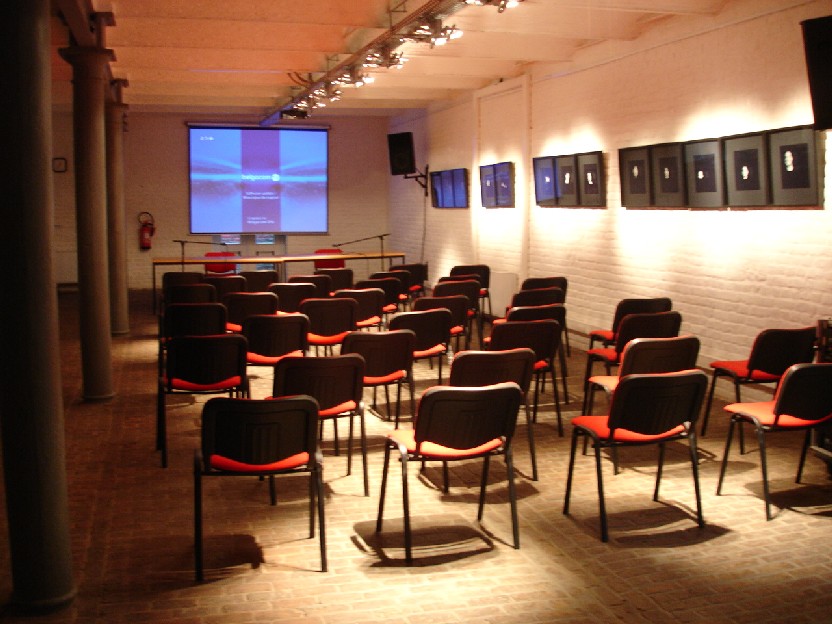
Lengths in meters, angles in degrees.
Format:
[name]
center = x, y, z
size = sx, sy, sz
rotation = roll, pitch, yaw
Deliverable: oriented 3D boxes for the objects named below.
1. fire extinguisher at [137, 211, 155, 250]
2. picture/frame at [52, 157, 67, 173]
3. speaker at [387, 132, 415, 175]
[fire extinguisher]
center = -6.402, -1.944, 16.080
size = 0.422, 0.947, 0.259
rotation = -4, 13, -16
[picture/frame]
center = -8.079, -3.392, 15.453
size = 0.288, 0.403, 0.156
rotation = -9, 15, -34
[speaker]
center = -0.306, -3.512, 14.868
size = 0.497, 0.898, 0.720
rotation = -9, 14, -33
